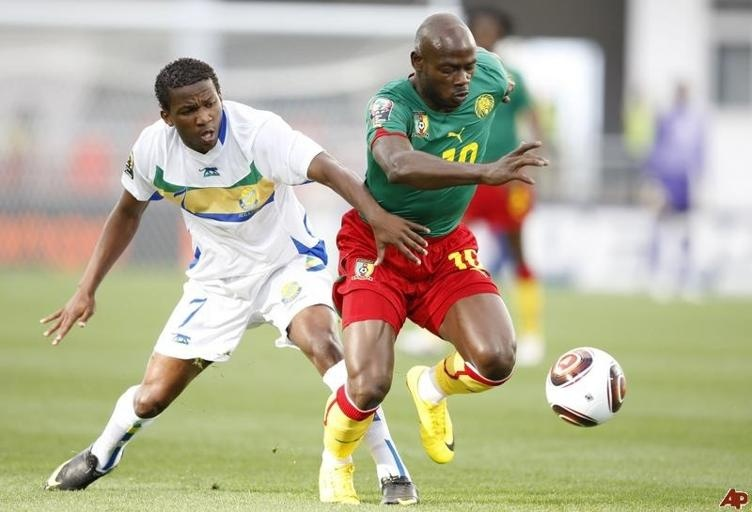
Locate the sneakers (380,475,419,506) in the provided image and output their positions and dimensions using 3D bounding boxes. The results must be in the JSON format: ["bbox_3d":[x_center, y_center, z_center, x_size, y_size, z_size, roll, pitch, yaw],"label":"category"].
[{"bbox_3d":[0.180,1.724,7.627,0.284,0.175,0.251,0,6,1],"label":"sneakers"}]

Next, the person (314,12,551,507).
[{"bbox_3d":[0.351,0.003,7.767,1.444,3.570,1.141,0,6,-3],"label":"person"}]

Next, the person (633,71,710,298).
[{"bbox_3d":[4.383,-0.939,15.166,0.822,3.102,1.351,2,6,18],"label":"person"}]

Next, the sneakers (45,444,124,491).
[{"bbox_3d":[-2.263,1.642,8.061,0.653,0.241,0.277,-28,-5,-9],"label":"sneakers"}]

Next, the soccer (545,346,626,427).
[{"bbox_3d":[1.622,1.091,8.075,0.611,0.592,0.595,-6,-21,21],"label":"soccer"}]

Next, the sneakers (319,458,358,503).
[{"bbox_3d":[-0.261,1.668,7.651,0.297,0.296,0.275,0,6,-3],"label":"sneakers"}]
